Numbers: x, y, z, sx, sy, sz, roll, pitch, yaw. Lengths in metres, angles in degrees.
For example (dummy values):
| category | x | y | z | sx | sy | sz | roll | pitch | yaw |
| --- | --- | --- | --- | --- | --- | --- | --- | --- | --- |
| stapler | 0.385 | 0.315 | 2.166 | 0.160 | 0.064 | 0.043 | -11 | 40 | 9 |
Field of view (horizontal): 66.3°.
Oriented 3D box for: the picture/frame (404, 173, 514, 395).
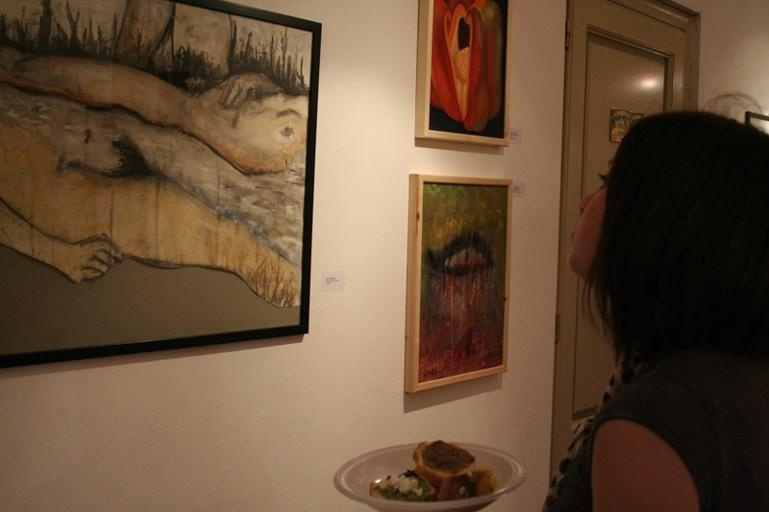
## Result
| category | x | y | z | sx | sy | sz | roll | pitch | yaw |
| --- | --- | --- | --- | --- | --- | --- | --- | --- | --- |
| picture/frame | 0.347 | 0.114 | 2.696 | 0.606 | 0.940 | 0.154 | -3 | 10 | -33 |
